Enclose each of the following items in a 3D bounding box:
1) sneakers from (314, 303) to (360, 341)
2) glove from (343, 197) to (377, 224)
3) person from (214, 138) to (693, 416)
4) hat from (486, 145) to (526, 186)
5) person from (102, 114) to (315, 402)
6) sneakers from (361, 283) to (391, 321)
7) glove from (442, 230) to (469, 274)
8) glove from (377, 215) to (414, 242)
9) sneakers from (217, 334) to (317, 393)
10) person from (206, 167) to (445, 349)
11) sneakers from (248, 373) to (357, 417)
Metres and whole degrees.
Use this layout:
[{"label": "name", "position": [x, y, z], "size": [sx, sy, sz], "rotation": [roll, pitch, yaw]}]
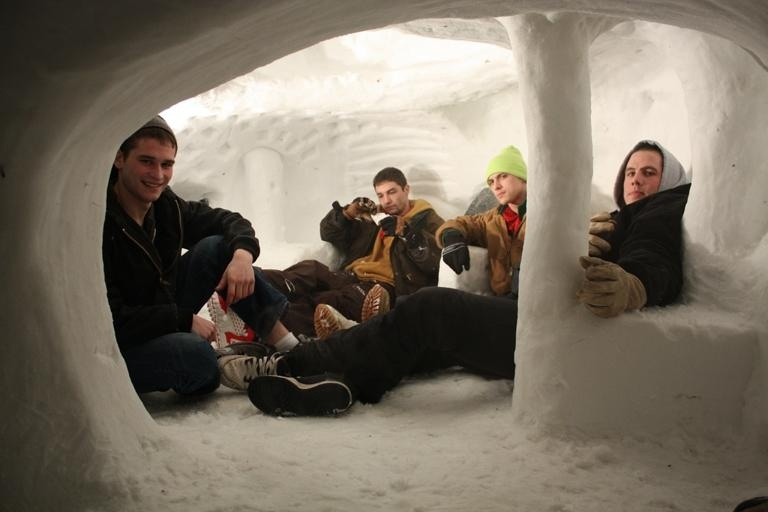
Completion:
[{"label": "sneakers", "position": [-0.190, 0.219, 2.263], "size": [0.112, 0.083, 0.231], "rotation": [12, 4, -9]}, {"label": "glove", "position": [-0.113, -0.232, 2.951], "size": [0.200, 0.102, 0.138], "rotation": [-8, 16, -15]}, {"label": "person", "position": [0.169, 0.040, 1.844], "size": [1.270, 0.679, 0.673], "rotation": [-11, -4, -23]}, {"label": "hat", "position": [0.497, -0.365, 2.528], "size": [0.128, 0.146, 0.171], "rotation": [1, -15, 10]}, {"label": "person", "position": [-0.572, -0.022, 1.789], "size": [0.656, 0.731, 0.525], "rotation": [-11, 9, -11]}, {"label": "sneakers", "position": [-0.015, 0.192, 2.519], "size": [0.057, 0.158, 0.091], "rotation": [32, -20, -28]}, {"label": "glove", "position": [0.280, -0.029, 2.528], "size": [0.066, 0.176, 0.109], "rotation": [30, -60, -32]}, {"label": "glove", "position": [0.056, -0.126, 2.788], "size": [0.131, 0.110, 0.054], "rotation": [18, -30, -5]}, {"label": "sneakers", "position": [-0.297, 0.296, 1.865], "size": [0.378, 0.133, 0.248], "rotation": [1, -1, -36]}, {"label": "person", "position": [-0.186, -0.034, 2.736], "size": [1.136, 0.729, 0.653], "rotation": [-4, 1, -44]}, {"label": "sneakers", "position": [-0.215, 0.356, 1.649], "size": [0.280, 0.108, 0.110], "rotation": [4, 13, 4]}]
